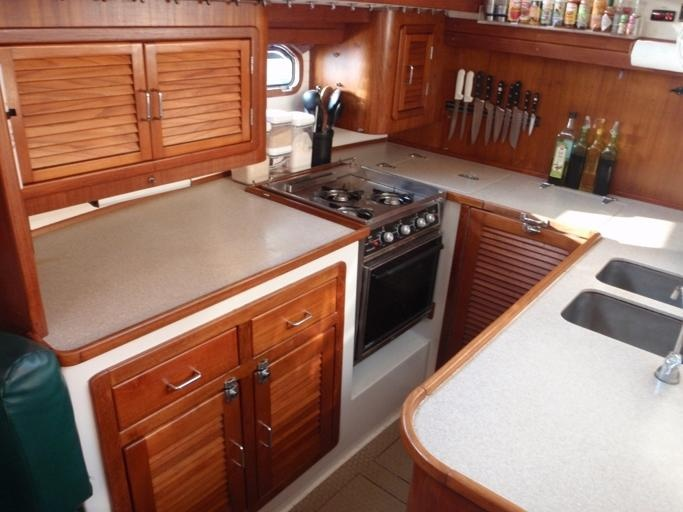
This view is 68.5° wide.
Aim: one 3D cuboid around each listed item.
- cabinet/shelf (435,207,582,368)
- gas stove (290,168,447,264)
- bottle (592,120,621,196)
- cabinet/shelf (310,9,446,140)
[{"bbox_3d":[0.731,0.088,2.172,0.460,0.845,0.465,25,45,26],"label":"cabinet/shelf"},{"bbox_3d":[0.090,-0.223,2.503,0.579,0.310,0.713,17,30,33],"label":"gas stove"},{"bbox_3d":[1.410,-0.509,2.656,0.092,0.379,0.136,15,30,27],"label":"bottle"},{"bbox_3d":[0.227,-1.077,2.964,0.482,0.605,0.686,21,30,35],"label":"cabinet/shelf"}]
